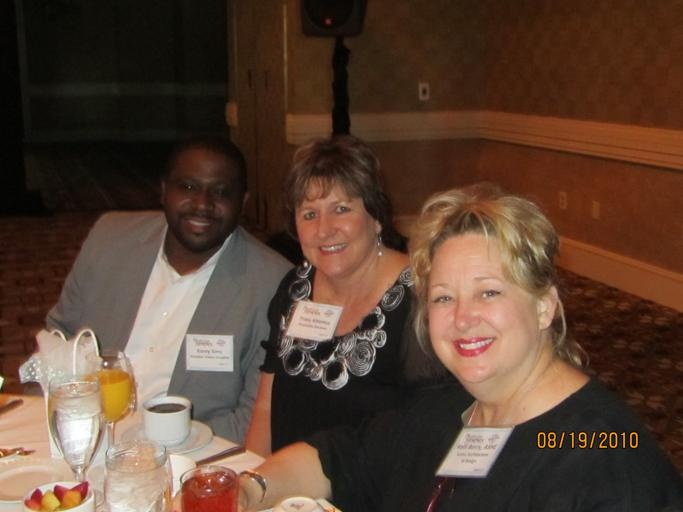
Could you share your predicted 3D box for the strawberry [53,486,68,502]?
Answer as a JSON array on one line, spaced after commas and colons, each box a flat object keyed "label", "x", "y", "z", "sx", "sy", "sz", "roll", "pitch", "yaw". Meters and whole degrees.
[{"label": "strawberry", "x": -0.524, "y": 0.442, "z": 1.021, "sx": 0.018, "sy": 0.020, "sz": 0.021, "roll": -2, "pitch": 59, "yaw": -1}]

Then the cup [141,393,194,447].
[{"label": "cup", "x": -0.457, "y": 0.435, "z": 1.427, "sx": 0.121, "sy": 0.095, "sz": 0.121, "roll": 3, "pitch": 6, "yaw": 0}]

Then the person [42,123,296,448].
[{"label": "person", "x": -0.662, "y": 0.126, "z": 2.228, "sx": 1.108, "sy": 1.160, "sz": 0.623, "roll": 14, "pitch": 10, "yaw": -1}]
